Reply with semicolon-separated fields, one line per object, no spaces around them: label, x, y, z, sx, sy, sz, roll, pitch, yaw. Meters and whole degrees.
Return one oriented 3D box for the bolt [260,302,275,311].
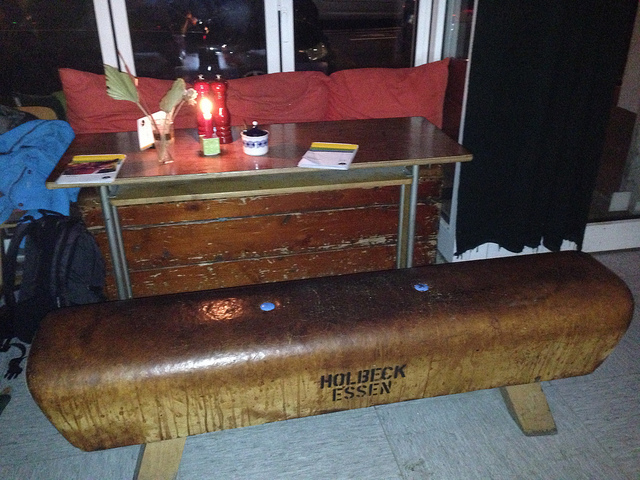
bolt;-0.204;0.260;1.914;0.040;0.001;0.030;6;27;9

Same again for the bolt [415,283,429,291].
bolt;0.415;0.193;2.009;0.057;0.007;0.045;-5;26;-5

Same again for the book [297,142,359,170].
book;0.037;-0.396;2.326;0.240;0.026;0.182;7;42;12

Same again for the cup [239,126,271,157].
cup;-0.305;-0.483;2.377;0.167;0.109;0.130;6;32;13

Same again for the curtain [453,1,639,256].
curtain;1.275;-0.598;2.874;0.903;1.493;0.546;0;37;7

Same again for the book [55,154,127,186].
book;-1.041;-0.330;2.247;0.273;0.021;0.249;-5;43;3
